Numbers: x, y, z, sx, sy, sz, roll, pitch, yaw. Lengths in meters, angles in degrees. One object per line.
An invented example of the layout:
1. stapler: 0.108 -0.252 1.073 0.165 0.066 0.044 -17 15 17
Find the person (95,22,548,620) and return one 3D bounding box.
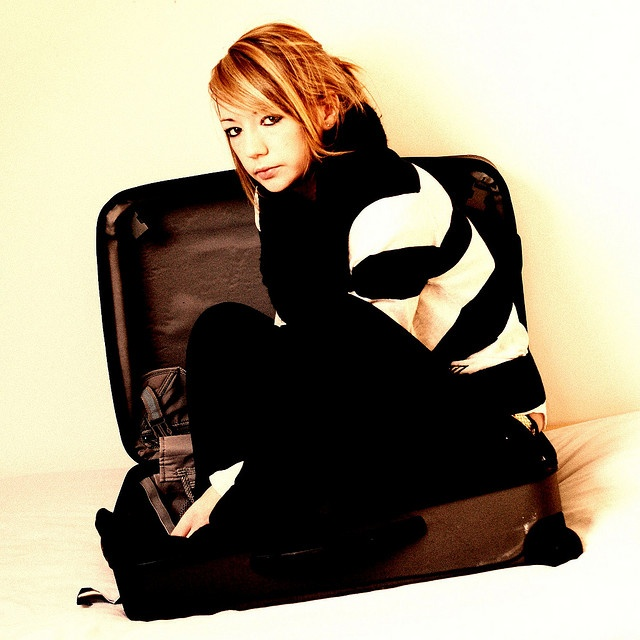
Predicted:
1. person: -0.035 -0.020 1.223 0.683 0.743 0.609 -13 7 9
